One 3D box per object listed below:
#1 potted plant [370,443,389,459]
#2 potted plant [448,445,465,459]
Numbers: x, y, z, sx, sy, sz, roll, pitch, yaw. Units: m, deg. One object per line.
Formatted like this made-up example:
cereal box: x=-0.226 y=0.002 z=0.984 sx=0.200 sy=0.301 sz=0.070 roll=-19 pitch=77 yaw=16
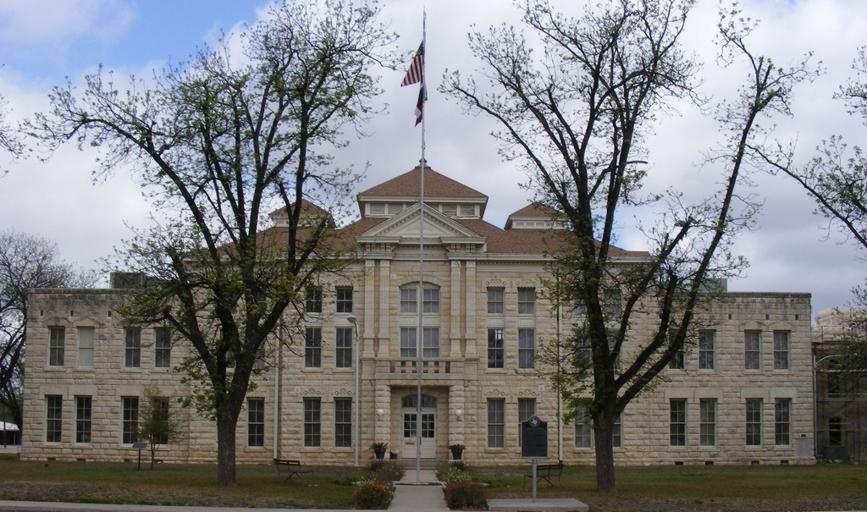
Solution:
potted plant: x=-3.932 y=13.784 z=111.440 sx=1.134 sy=1.025 sz=1.071 roll=2 pitch=-22 yaw=-6
potted plant: x=1.292 y=13.880 z=111.318 sx=1.166 sy=1.085 sz=0.948 roll=1 pitch=-14 yaw=-4
